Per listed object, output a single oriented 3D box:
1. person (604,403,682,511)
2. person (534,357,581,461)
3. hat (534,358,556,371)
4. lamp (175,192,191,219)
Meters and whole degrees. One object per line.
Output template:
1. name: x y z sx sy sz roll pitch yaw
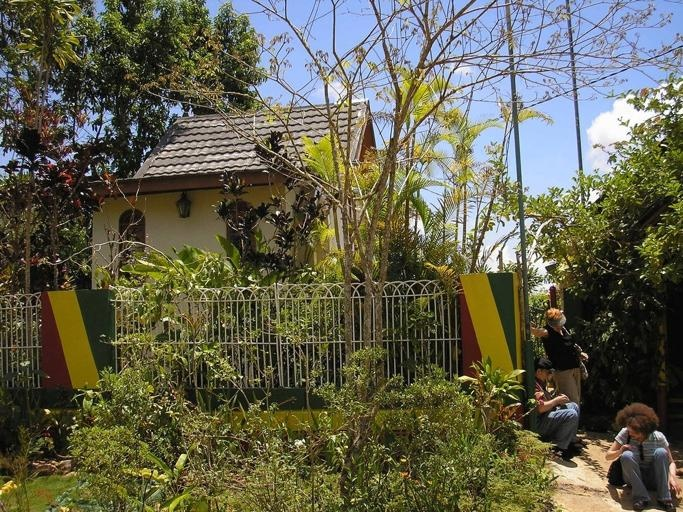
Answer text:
1. person: 4.009 2.684 9.142 0.843 1.670 1.267 0 -25 10
2. person: 3.212 2.274 10.327 0.644 1.455 0.604 -1 -4 10
3. hat: 3.136 1.656 10.595 0.221 0.146 0.177 -8 10 -5
4. lamp: -3.238 -1.046 14.237 0.312 0.535 0.311 -1 -4 11
